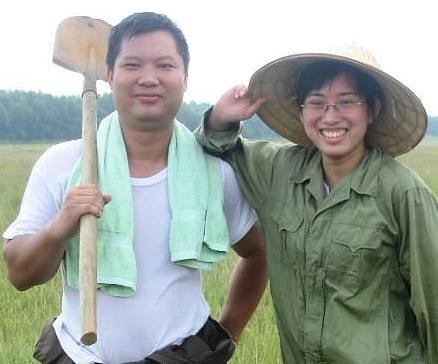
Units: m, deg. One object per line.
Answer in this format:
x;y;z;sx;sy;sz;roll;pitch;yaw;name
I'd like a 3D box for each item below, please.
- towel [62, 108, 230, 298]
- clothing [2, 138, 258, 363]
-0.344;0.165;3.600;0.803;1.163;0.289;0;-16;-13;towel
-0.498;0.444;3.686;1.593;1.407;0.525;2;-12;-10;clothing
